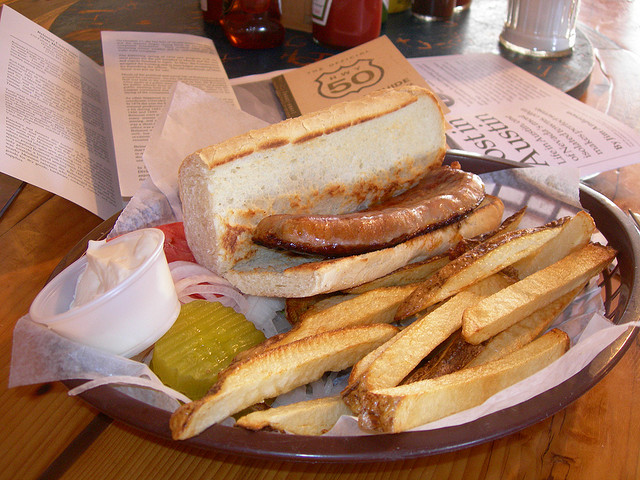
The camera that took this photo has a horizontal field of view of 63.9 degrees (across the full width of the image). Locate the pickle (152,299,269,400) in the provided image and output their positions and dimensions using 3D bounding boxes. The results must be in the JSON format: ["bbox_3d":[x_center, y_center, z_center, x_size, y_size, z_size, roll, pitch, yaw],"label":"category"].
[{"bbox_3d":[-0.302,0.283,1.335,0.234,0.058,0.210,27,56,21],"label":"pickle"}]
